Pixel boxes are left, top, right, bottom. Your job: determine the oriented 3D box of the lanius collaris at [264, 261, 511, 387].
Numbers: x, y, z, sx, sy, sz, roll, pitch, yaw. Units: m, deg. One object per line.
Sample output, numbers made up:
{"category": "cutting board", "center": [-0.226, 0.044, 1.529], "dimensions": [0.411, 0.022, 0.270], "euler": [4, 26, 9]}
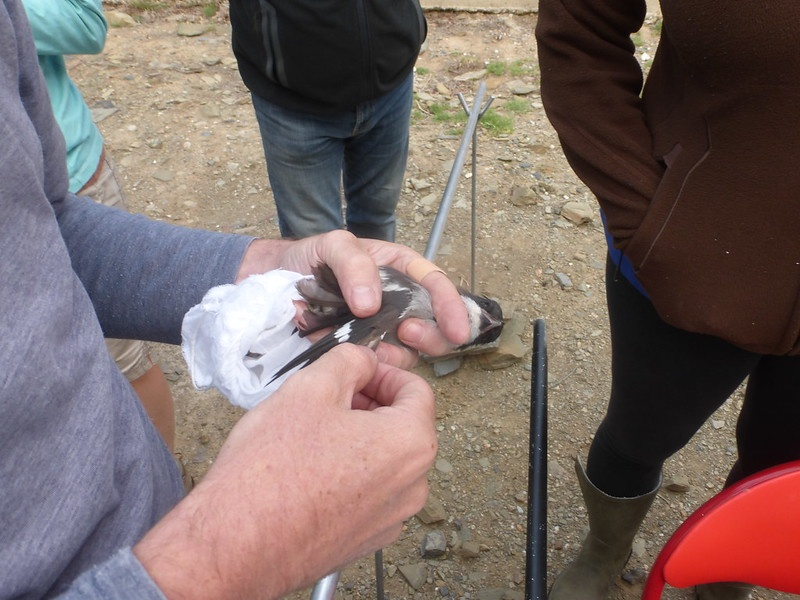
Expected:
{"category": "lanius collaris", "center": [0.044, 0.105, 1.837], "dimensions": [0.683, 0.211, 0.277], "euler": [17, 65, -11]}
